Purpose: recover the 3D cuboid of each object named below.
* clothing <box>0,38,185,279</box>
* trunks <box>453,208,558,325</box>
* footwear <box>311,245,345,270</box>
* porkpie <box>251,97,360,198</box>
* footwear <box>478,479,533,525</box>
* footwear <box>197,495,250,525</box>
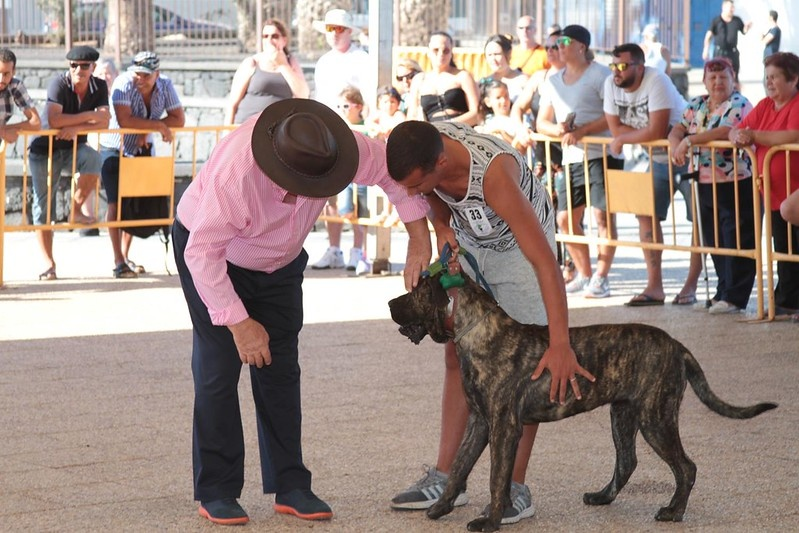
[{"bbox_3d":[-3.660,-1.222,19.910,1.843,2.728,0.681,-4,10,-14],"label":"clothing"},{"bbox_3d":[0.970,0.090,14.928,0.832,0.858,0.264,-7,23,43],"label":"trunks"},{"bbox_3d":[-0.848,-0.076,20.606,0.510,0.306,0.198,-2,5,-27],"label":"footwear"},{"bbox_3d":[-0.818,-0.991,14.478,0.927,0.867,0.413,-1,10,-1],"label":"porkpie"},{"bbox_3d":[0.949,2.121,14.764,0.239,0.308,0.572,-1,0,45],"label":"footwear"},{"bbox_3d":[-1.540,2.166,14.730,0.363,0.160,0.211,2,1,38],"label":"footwear"}]
